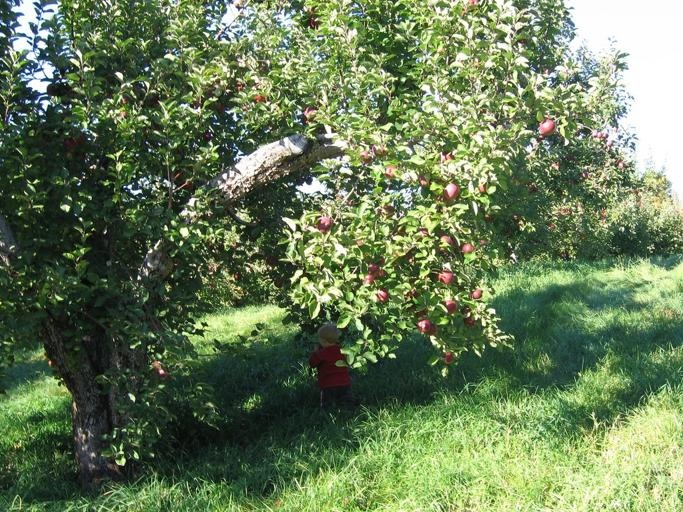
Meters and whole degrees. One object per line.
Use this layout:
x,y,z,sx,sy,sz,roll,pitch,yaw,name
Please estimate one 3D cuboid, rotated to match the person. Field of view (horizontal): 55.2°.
-0.101,1.331,7.697,0.464,1.101,0.431,0,11,-4,person
